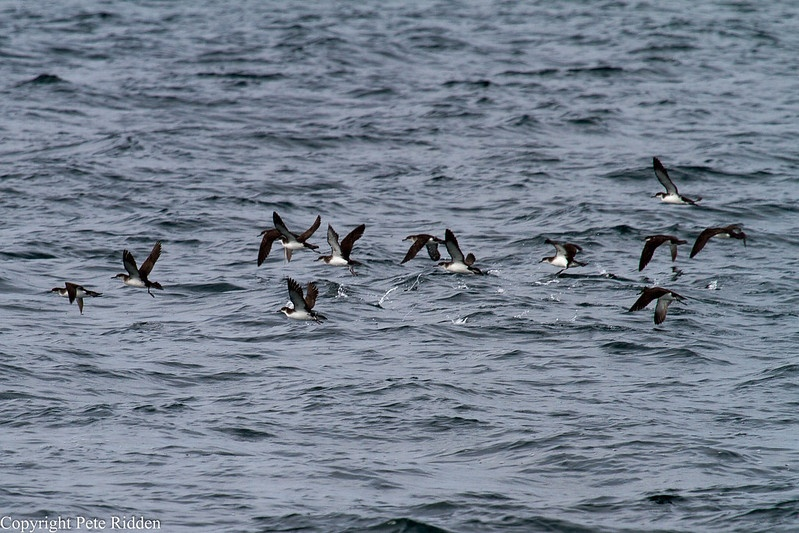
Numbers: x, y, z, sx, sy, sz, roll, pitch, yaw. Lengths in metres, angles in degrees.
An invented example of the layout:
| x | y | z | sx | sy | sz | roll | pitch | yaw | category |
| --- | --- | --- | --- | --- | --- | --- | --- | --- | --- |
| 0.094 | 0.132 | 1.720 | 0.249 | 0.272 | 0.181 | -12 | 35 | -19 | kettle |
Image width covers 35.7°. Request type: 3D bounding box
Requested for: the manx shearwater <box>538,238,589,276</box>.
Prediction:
| x | y | z | sx | sy | sz | roll | pitch | yaw | category |
| --- | --- | --- | --- | --- | --- | --- | --- | --- | --- |
| 4.682 | -0.190 | 35.711 | 1.703 | 1.561 | 0.669 | 3 | 66 | -17 | manx shearwater |

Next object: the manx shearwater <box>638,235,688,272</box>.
| x | y | z | sx | sy | sz | roll | pitch | yaw | category |
| --- | --- | --- | --- | --- | --- | --- | --- | --- | --- |
| 7.324 | -0.590 | 34.534 | 1.219 | 1.475 | 0.393 | 0 | 78 | 12 | manx shearwater |

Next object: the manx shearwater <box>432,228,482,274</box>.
| x | y | z | sx | sy | sz | roll | pitch | yaw | category |
| --- | --- | --- | --- | --- | --- | --- | --- | --- | --- |
| 1.549 | -0.211 | 33.375 | 1.677 | 2.225 | 0.430 | 2 | 71 | 8 | manx shearwater |

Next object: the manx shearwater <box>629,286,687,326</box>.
| x | y | z | sx | sy | sz | roll | pitch | yaw | category |
| --- | --- | --- | --- | --- | --- | --- | --- | --- | --- |
| 7.227 | 0.901 | 33.520 | 1.562 | 1.826 | 0.618 | -12 | 101 | 12 | manx shearwater |

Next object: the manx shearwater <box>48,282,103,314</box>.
| x | y | z | sx | sy | sz | roll | pitch | yaw | category |
| --- | --- | --- | --- | --- | --- | --- | --- | --- | --- |
| -9.470 | 0.941 | 35.879 | 0.824 | 0.908 | 0.315 | -30 | 98 | 8 | manx shearwater |

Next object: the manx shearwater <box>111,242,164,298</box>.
| x | y | z | sx | sy | sz | roll | pitch | yaw | category |
| --- | --- | --- | --- | --- | --- | --- | --- | --- | --- |
| -6.954 | 0.154 | 32.889 | 1.087 | 2.869 | 0.842 | 2 | 74 | -6 | manx shearwater |
